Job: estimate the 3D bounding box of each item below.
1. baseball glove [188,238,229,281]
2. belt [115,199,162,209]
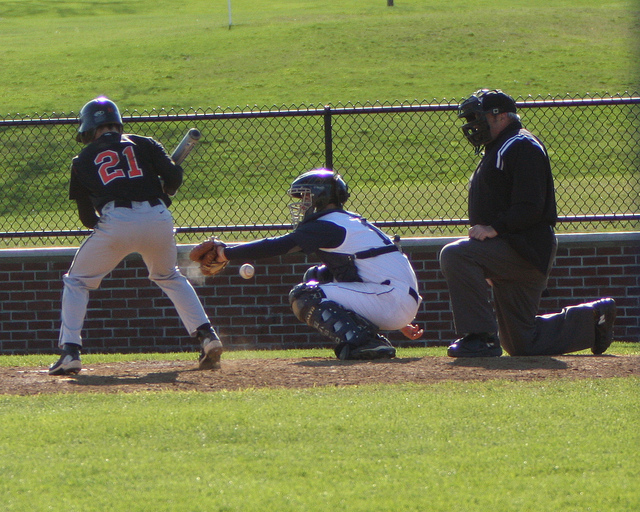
[{"bbox_3d":[-1.332,-0.002,18.646,0.278,0.412,0.528,30,27,-29],"label":"baseball glove"},{"bbox_3d":[-2.220,-0.650,18.273,0.567,0.113,0.083,-5,9,-16],"label":"belt"}]
